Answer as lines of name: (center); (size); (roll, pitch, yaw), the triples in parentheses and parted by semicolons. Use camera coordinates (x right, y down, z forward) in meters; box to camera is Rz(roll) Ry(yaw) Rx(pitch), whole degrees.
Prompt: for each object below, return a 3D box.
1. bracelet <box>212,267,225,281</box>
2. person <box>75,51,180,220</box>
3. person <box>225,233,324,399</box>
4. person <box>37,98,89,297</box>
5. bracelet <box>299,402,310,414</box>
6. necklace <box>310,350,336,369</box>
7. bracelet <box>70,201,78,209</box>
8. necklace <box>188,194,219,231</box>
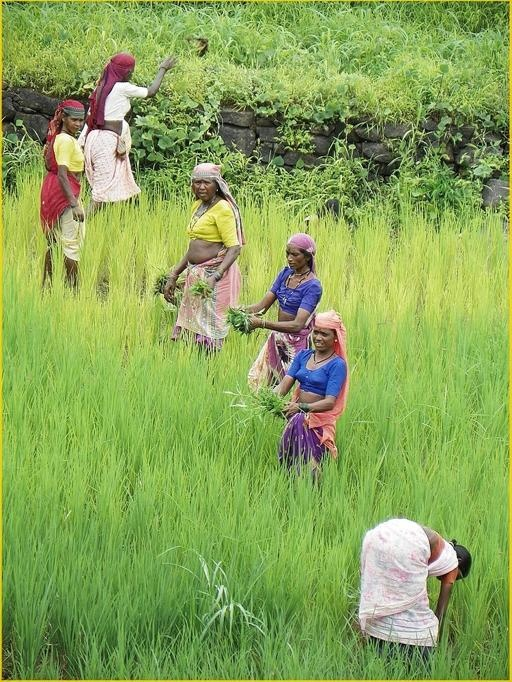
bracelet: (-0.251, -0.450, 5.059); (0.069, 0.103, 0.059); (-9, 12, -39)
person: (-1.385, -2.084, 7.672); (0.730, 1.994, 0.739); (-3, 45, -21)
person: (0.143, -0.062, 4.407); (0.315, 1.156, 0.319); (2, 16, -14)
person: (-1.639, -1.223, 6.298); (0.360, 1.548, 0.595); (0, 3, -18)
bracelet: (0.237, 0.323, 3.592); (0.036, 0.043, 0.041); (2, 7, 2)
necklace: (0.327, 0.097, 3.668); (0.063, 0.091, 0.144); (-1, 4, -42)
bracelet: (-1.513, -1.139, 6.208); (0.060, 0.060, 0.052); (1, 3, -19)
necklace: (-0.385, -0.874, 5.150); (0.137, 0.205, 0.355); (0, 4, -24)
